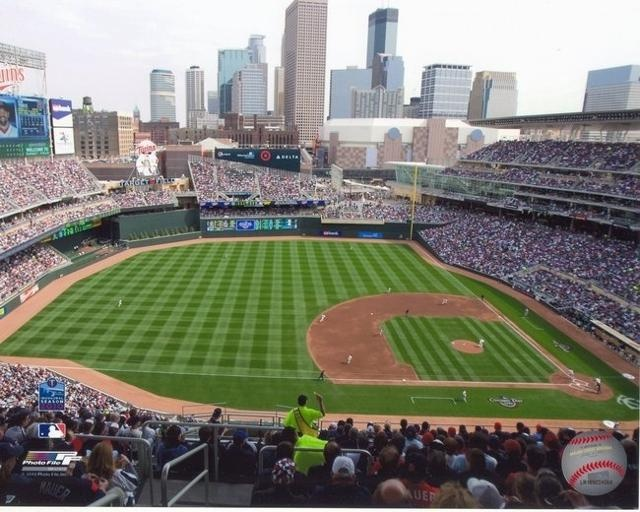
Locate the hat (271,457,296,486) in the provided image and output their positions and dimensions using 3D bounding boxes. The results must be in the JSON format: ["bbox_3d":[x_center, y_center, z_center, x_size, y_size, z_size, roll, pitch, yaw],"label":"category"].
[{"bbox_3d":[-0.567,3.417,7.250,0.386,0.342,0.462,1,-4,1],"label":"hat"}]

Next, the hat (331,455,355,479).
[{"bbox_3d":[0.367,3.343,7.270,0.323,0.305,0.472,2,16,2],"label":"hat"}]

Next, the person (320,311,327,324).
[{"bbox_3d":[0.187,4.304,31.317,0.346,0.281,1.037,-15,9,8],"label":"person"}]
